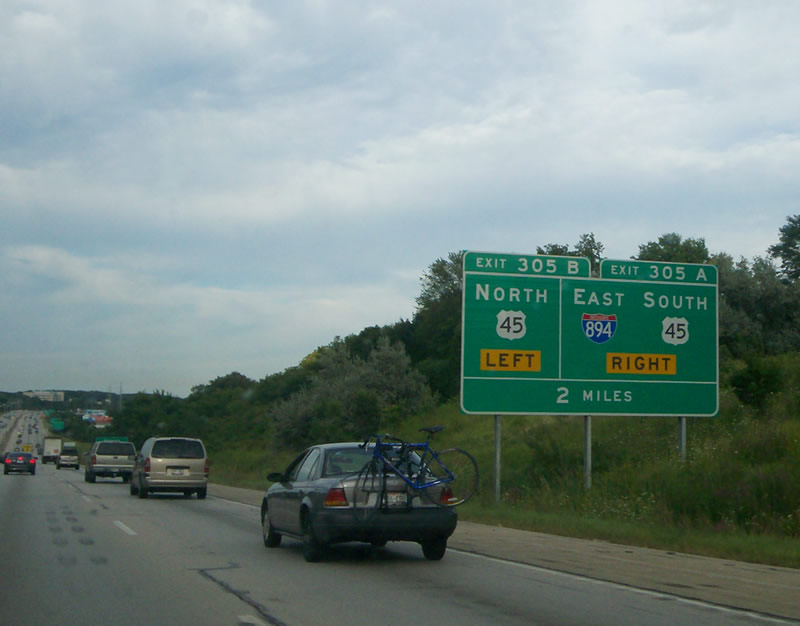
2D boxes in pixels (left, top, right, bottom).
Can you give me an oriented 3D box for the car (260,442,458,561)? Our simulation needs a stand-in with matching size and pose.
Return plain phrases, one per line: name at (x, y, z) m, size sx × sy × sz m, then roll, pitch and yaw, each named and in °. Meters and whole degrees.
car at (-1.123, 3.339, 17.830) m, size 1.677 × 1.325 × 3.534 m, roll 3°, pitch -5°, yaw -19°
